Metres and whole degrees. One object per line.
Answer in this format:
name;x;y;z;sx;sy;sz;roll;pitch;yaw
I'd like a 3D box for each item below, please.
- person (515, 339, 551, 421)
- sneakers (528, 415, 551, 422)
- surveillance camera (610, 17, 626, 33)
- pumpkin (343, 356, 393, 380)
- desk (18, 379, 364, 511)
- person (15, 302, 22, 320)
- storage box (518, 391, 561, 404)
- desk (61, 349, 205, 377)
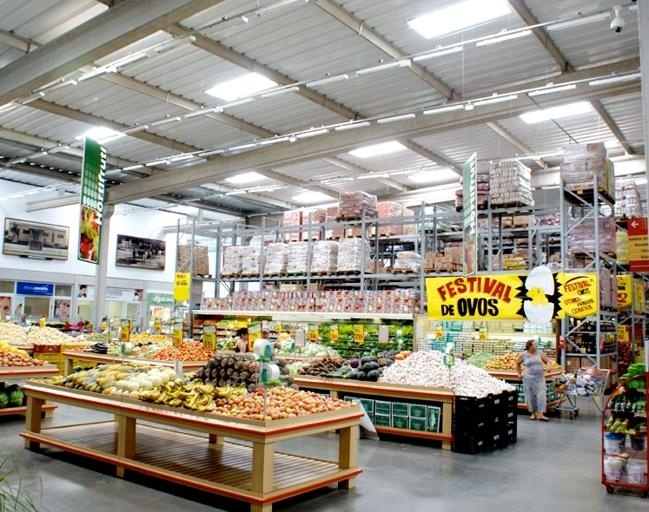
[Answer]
person;3.910;2.266;9.739;0.626;1.477;0.466;6;-3;19
sneakers;4.028;2.991;9.766;0.396;0.128;0.121;-16;-21;37
surveillance camera;4.679;-3.671;8.304;0.165;0.243;0.277;5;-2;27
pumpkin;0.746;1.762;8.321;0.610;0.145;0.396;-4;2;-5
desk;-1.069;2.143;5.952;3.574;0.581;1.512;-2;-7;36
person;-12.688;2.237;21.683;0.287;0.682;0.483;8;-3;-25
storage box;4.373;2.798;10.463;0.597;0.203;0.717;-1;-3;30
desk;-3.544;1.975;9.929;2.167;0.351;0.818;0;-3;26
